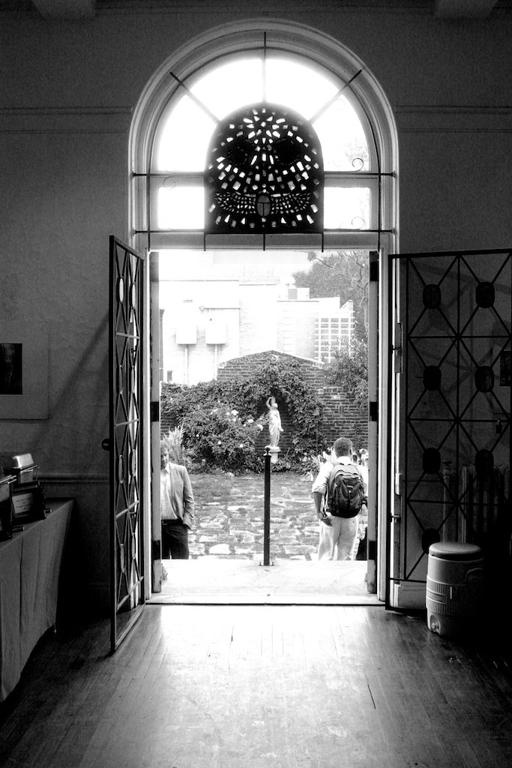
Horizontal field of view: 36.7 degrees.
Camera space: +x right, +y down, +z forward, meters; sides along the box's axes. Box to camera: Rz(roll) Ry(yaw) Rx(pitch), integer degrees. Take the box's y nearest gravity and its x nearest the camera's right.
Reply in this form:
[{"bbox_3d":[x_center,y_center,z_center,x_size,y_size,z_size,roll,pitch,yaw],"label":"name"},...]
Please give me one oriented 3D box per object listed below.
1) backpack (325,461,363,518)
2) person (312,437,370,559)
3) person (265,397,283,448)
[{"bbox_3d":[0.574,0.670,5.024,0.212,0.363,0.233,12,28,22],"label":"backpack"},{"bbox_3d":[0.557,0.864,5.103,0.254,1.039,0.255,-3,12,-16],"label":"person"},{"bbox_3d":[0.200,0.446,8.873,0.211,0.558,0.702,0,3,0],"label":"person"}]
